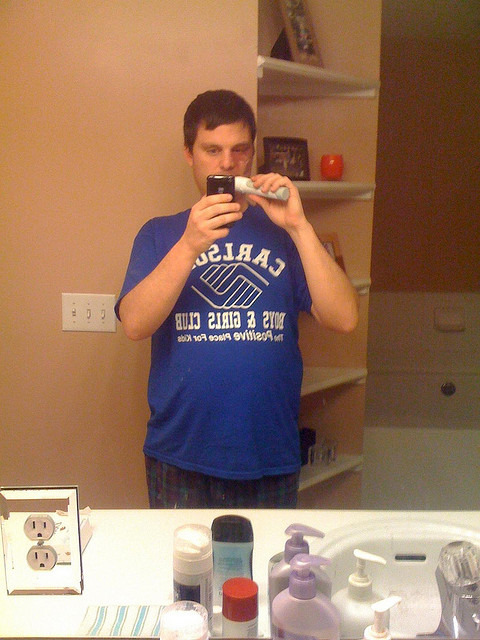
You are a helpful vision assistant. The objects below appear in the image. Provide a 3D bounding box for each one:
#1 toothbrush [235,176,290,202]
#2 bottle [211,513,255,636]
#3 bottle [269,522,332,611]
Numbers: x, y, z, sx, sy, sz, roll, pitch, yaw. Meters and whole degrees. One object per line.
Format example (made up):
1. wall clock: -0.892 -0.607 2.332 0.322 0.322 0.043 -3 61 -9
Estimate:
1. toothbrush: 0.033 -0.192 0.780 0.091 0.029 0.022 14 12 3
2. bottle: -0.008 0.272 0.581 0.046 0.097 0.077 -2 7 1
3. bottle: 0.059 0.272 0.553 0.050 0.111 0.057 8 -18 -16
